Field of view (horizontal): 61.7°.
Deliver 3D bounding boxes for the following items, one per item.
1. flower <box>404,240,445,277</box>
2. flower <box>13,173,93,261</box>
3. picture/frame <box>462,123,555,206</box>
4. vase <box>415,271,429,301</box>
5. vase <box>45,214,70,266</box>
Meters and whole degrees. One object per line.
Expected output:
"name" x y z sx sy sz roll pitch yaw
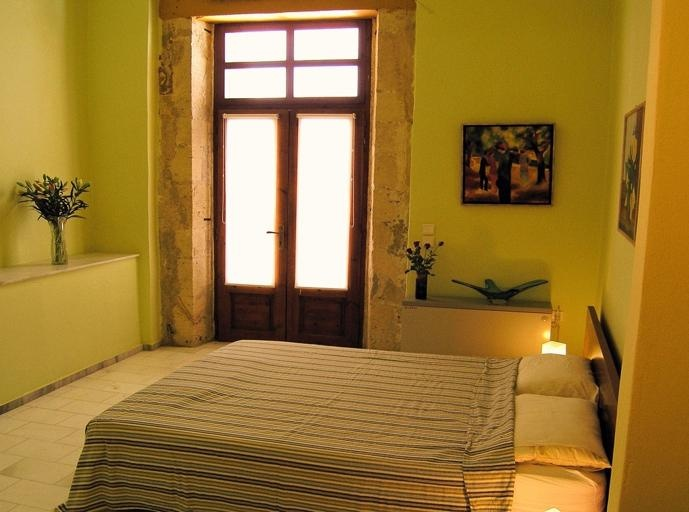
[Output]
"flower" 0.673 0.018 5.100 0.310 0.340 0.324 2 2 -1
"flower" -2.586 -0.322 5.123 0.578 0.716 0.670 -4 1 -29
"picture/frame" 1.424 -0.801 4.897 0.740 0.625 0.055 0 7 11
"vase" 0.656 0.249 4.952 0.099 0.243 0.121 -1 14 1
"vase" -2.504 -0.128 5.015 0.153 0.397 0.274 -7 15 -23
